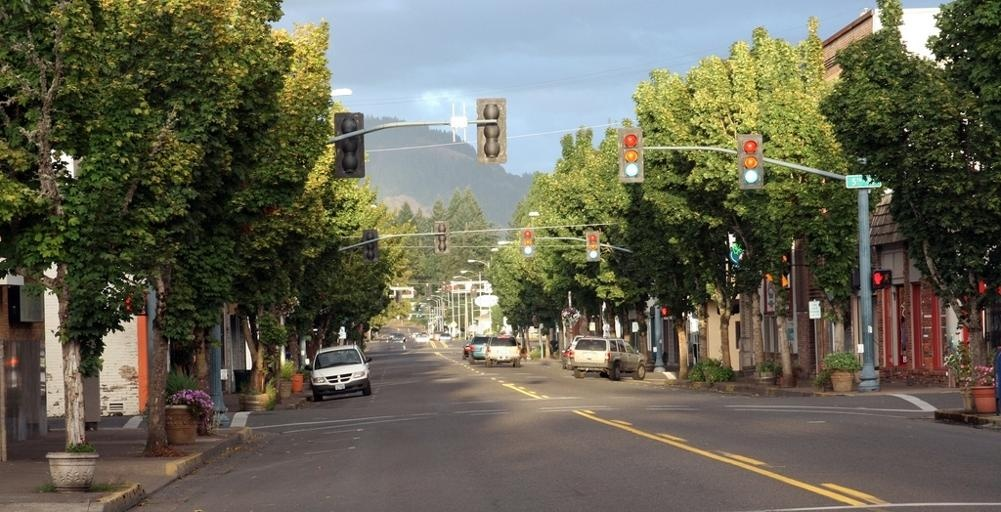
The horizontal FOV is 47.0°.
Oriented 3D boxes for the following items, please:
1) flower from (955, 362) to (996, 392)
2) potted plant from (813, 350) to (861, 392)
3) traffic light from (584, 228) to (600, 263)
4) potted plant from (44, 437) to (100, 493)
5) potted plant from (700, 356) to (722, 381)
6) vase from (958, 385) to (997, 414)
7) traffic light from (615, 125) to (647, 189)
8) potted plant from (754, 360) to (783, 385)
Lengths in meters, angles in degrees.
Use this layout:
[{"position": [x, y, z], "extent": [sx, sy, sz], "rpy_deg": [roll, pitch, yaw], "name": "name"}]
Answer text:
[{"position": [17.987, 4.523, 43.455], "extent": [1.800, 1.004, 1.463], "rpy_deg": [-1, 0, -21], "name": "flower"}, {"position": [15.383, 5.267, 52.589], "extent": [1.045, 1.805, 1.872], "rpy_deg": [1, -11, -27], "name": "potted plant"}, {"position": [5.230, -0.585, 64.974], "extent": [0.682, 1.548, 0.936], "rpy_deg": [-4, -9, -1], "name": "traffic light"}, {"position": [-11.816, 5.933, 32.196], "extent": [1.516, 1.057, 1.460], "rpy_deg": [-3, 1, -29], "name": "potted plant"}, {"position": [11.145, 6.003, 60.596], "extent": [1.090, 1.392, 2.004], "rpy_deg": [-6, -10, 9], "name": "potted plant"}, {"position": [17.000, 5.133, 41.190], "extent": [0.990, 0.667, 0.978], "rpy_deg": [0, -11, -1], "name": "vase"}, {"position": [4.795, -3.779, 42.442], "extent": [0.899, 1.968, 0.454], "rpy_deg": [-4, -9, -3], "name": "traffic light"}, {"position": [13.456, 5.839, 57.779], "extent": [1.251, 1.115, 1.234], "rpy_deg": [1, -11, -6], "name": "potted plant"}]
